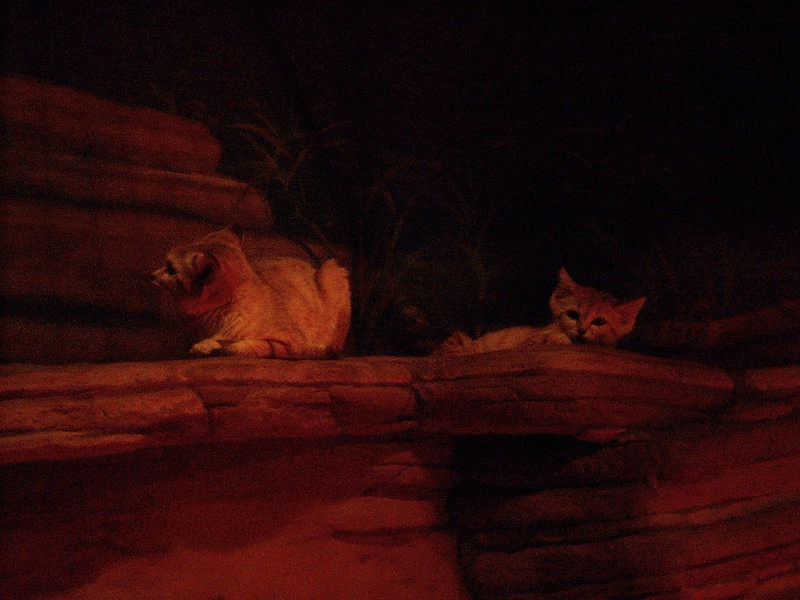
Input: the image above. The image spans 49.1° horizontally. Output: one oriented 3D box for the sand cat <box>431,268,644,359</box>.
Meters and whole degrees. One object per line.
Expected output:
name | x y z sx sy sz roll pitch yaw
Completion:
sand cat | 0.791 0.109 5.660 1.483 0.669 0.554 -9 -13 15
